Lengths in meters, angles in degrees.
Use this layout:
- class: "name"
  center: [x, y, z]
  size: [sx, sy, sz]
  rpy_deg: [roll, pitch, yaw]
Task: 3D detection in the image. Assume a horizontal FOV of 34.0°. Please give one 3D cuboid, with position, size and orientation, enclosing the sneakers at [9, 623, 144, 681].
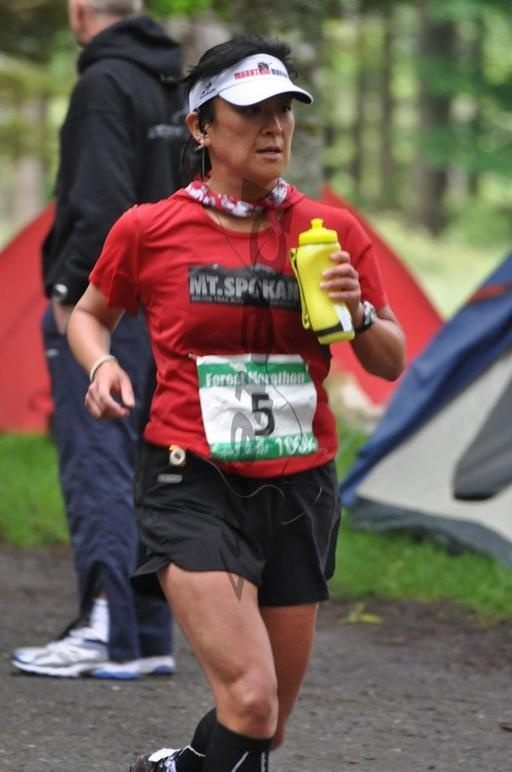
- class: "sneakers"
  center: [-0.556, 0.804, 2.482]
  size: [0.364, 0.129, 0.149]
  rpy_deg: [12, 52, -30]

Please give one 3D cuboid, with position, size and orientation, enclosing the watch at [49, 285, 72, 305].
- class: "watch"
  center: [-0.595, -0.282, 2.543]
  size: [0.051, 0.059, 0.047]
  rpy_deg: [1, 36, -2]

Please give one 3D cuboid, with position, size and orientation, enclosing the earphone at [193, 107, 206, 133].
- class: "earphone"
  center: [-0.103, -0.500, 1.560]
  size: [0.017, 0.037, 0.029]
  rpy_deg: [-7, 11, -11]

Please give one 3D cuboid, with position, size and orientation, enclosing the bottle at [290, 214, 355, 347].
- class: "bottle"
  center: [0.120, -0.192, 1.481]
  size: [0.124, 0.218, 0.180]
  rpy_deg: [5, 0, 6]

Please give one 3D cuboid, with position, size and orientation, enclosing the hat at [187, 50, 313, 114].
- class: "hat"
  center: [0.006, -0.555, 1.560]
  size: [0.145, 0.068, 0.214]
  rpy_deg: [-1, 1, -4]

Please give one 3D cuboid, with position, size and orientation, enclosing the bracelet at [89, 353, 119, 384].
- class: "bracelet"
  center: [-0.295, -0.036, 1.607]
  size: [0.054, 0.056, 0.021]
  rpy_deg: [9, 15, -28]

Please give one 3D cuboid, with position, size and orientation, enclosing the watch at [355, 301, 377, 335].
- class: "watch"
  center: [0.199, -0.123, 1.501]
  size: [0.028, 0.051, 0.046]
  rpy_deg: [8, 17, -1]
